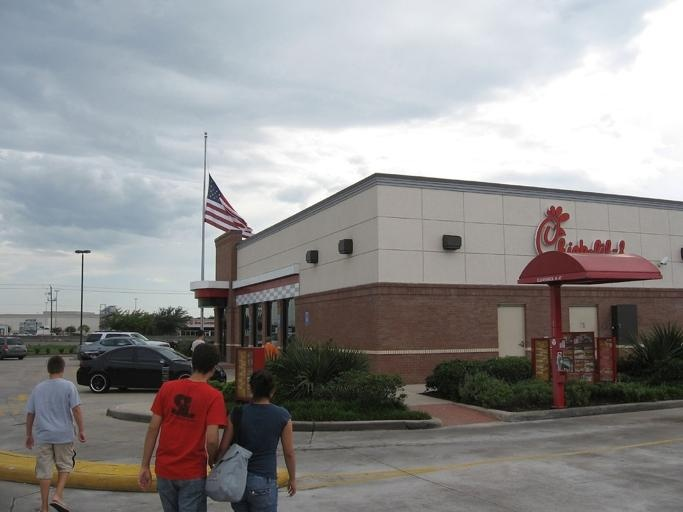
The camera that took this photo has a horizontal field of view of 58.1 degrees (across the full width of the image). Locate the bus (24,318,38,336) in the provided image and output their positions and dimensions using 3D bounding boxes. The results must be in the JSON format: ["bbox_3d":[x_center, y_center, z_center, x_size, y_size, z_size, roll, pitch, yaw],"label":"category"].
[{"bbox_3d":[-75.363,17.312,148.965,3.432,3.332,6.066,1,-2,-24],"label":"bus"}]

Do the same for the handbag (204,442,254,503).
[{"bbox_3d":[-1.146,2.185,6.413,0.255,0.558,0.525,15,-2,-24],"label":"handbag"}]
